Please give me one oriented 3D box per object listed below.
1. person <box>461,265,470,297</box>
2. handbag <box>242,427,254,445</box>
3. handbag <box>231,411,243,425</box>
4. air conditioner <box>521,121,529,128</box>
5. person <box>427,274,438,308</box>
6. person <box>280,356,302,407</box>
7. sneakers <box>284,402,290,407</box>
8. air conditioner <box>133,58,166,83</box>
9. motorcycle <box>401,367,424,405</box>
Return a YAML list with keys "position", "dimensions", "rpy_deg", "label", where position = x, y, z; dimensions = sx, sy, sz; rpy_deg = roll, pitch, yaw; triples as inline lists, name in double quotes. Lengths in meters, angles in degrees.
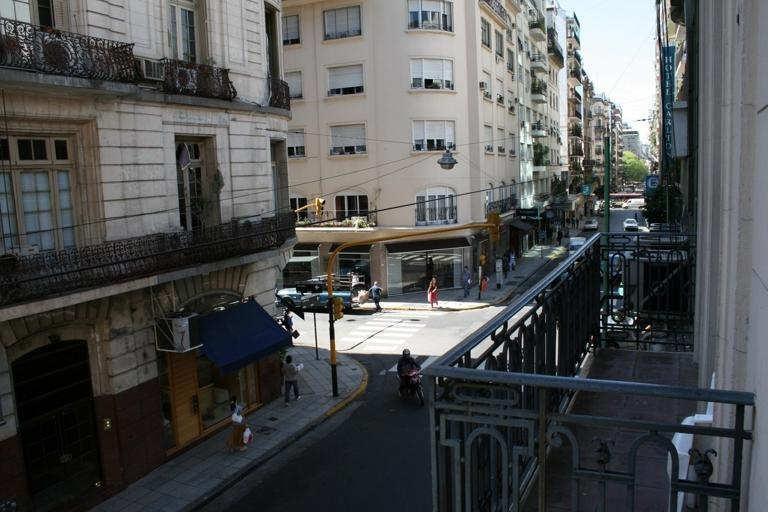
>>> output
- position: [4.591, 1.469, 39.390]
  dimensions: [0.358, 1.499, 1.156]
  rpy_deg: [0, 9, 8]
  label: "person"
- position: [-3.773, 5.088, 20.079]
  dimensions: [0.281, 0.447, 0.407]
  rpy_deg: [-1, 20, -2]
  label: "handbag"
- position: [-4.063, 4.456, 19.789]
  dimensions: [0.317, 0.397, 0.257]
  rpy_deg: [-2, 9, -3]
  label: "handbag"
- position: [11.326, -10.540, 56.867]
  dimensions: [0.218, 0.603, 2.950]
  rpy_deg: [1, 10, 17]
  label: "air conditioner"
- position: [2.578, 1.877, 36.914]
  dimensions: [0.439, 1.451, 0.943]
  rpy_deg: [-1, 9, 2]
  label: "person"
- position: [-3.070, 3.947, 23.750]
  dimensions: [0.634, 1.483, 2.114]
  rpy_deg: [-2, 9, -5]
  label: "person"
- position: [-3.111, 4.722, 22.956]
  dimensions: [0.179, 0.123, 0.277]
  rpy_deg: [-4, 9, -14]
  label: "sneakers"
- position: [-6.049, -4.800, 18.419]
  dimensions: [0.448, 0.704, 0.935]
  rpy_deg: [7, 10, 32]
  label: "air conditioner"
- position: [0.962, 4.136, 22.991]
  dimensions: [0.732, 1.090, 0.980]
  rpy_deg: [-3, 9, -7]
  label: "motorcycle"
